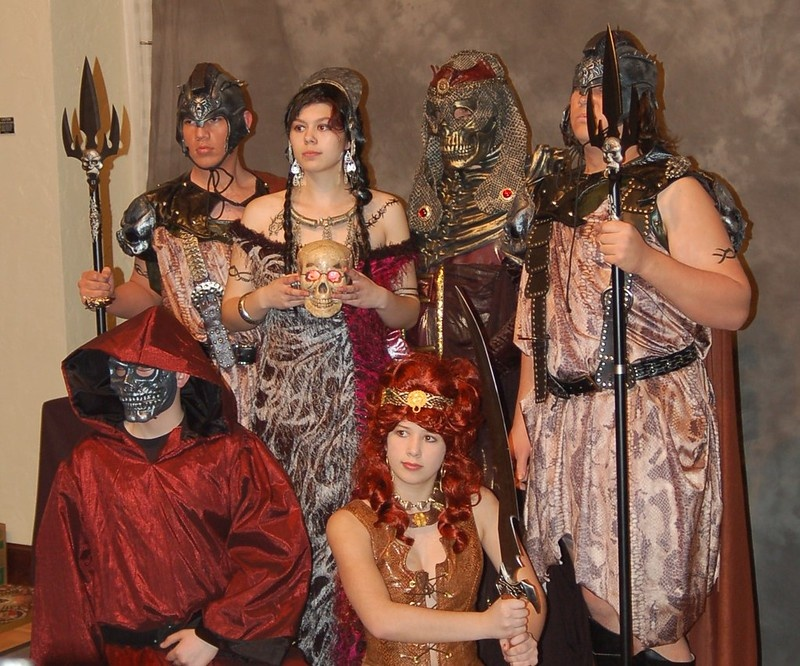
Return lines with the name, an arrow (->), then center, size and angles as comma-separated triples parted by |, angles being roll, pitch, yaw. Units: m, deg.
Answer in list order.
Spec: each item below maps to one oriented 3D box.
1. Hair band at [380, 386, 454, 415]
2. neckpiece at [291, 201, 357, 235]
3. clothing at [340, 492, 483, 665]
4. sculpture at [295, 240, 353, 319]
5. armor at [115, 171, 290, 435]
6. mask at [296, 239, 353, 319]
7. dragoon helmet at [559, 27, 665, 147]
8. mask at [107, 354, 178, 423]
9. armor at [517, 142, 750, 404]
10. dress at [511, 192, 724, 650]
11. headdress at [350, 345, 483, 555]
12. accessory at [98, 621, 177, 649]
Hair band -> 0.052, 0.206, 3.481 | 0.210, 0.070, 0.056 | -2, 9, 11
neckpiece -> -0.255, -0.379, 3.849 | 0.172, 0.044, 0.092 | -2, 30, -1
clothing -> 0.049, 0.741, 3.459 | 0.609, 0.605, 0.367 | 1, -9, -12
sculpture -> -0.235, -0.192, 3.750 | 0.209, 0.230, 0.245 | -1, 16, -6
armor -> -0.774, -0.131, 4.280 | 0.724, 0.850, 0.295 | -2, 0, 34
mask -> -0.238, -0.173, 3.662 | 0.206, 0.233, 0.243 | 1, 30, -1
dragoon helmet -> 0.714, -0.778, 3.585 | 0.253, 0.308, 0.247 | -7, 23, 11
mask -> -0.813, 0.182, 3.688 | 0.193, 0.165, 0.227 | -2, -6, 16
armor -> 0.806, -0.230, 3.667 | 0.523, 0.679, 0.842 | -16, 11, -17
dress -> 0.661, 0.270, 3.474 | 0.615, 1.351, 0.484 | -2, 10, 14
headdress -> 0.066, 0.372, 3.525 | 0.450, 0.576, 0.187 | 4, -6, 0
accessory -> -0.812, 0.944, 3.521 | 0.147, 0.046, 0.101 | -5, -8, 11
